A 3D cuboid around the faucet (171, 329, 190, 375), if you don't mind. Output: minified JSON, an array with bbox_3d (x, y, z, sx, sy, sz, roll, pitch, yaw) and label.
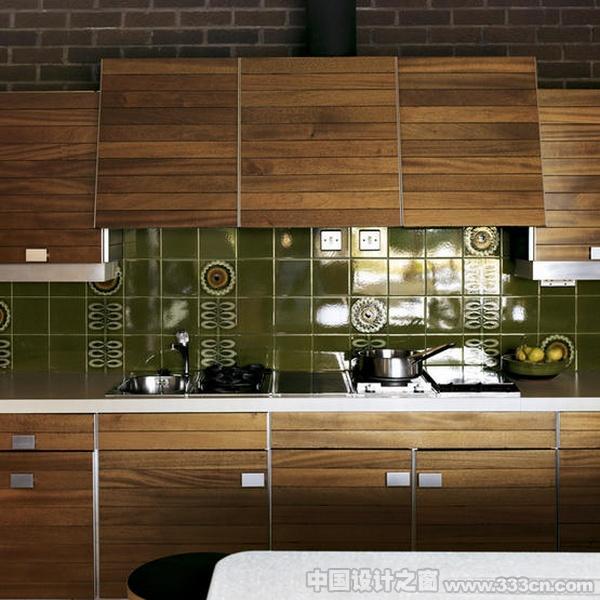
[{"bbox_3d":[-0.527,0.244,4.074,0.085,0.214,0.099,1,19,4],"label":"faucet"}]

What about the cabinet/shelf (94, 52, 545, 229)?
[{"bbox_3d":[0.081,-0.672,3.823,1.892,0.703,0.253,0,13,0],"label":"cabinet/shelf"}]

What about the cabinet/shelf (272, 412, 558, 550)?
[{"bbox_3d":[0.471,0.789,3.974,1.239,0.589,0.577,1,-4,-1],"label":"cabinet/shelf"}]

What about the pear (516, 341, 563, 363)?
[{"bbox_3d":[1.071,0.239,4.109,0.103,0.065,0.181,-7,4,-8],"label":"pear"}]

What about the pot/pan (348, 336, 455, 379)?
[{"bbox_3d":[0.402,0.249,3.914,0.360,0.100,0.209,0,-1,14],"label":"pot/pan"}]

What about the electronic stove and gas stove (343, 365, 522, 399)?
[{"bbox_3d":[0.548,0.343,3.907,0.719,0.068,0.463,0,11,0],"label":"electronic stove and gas stove"}]
